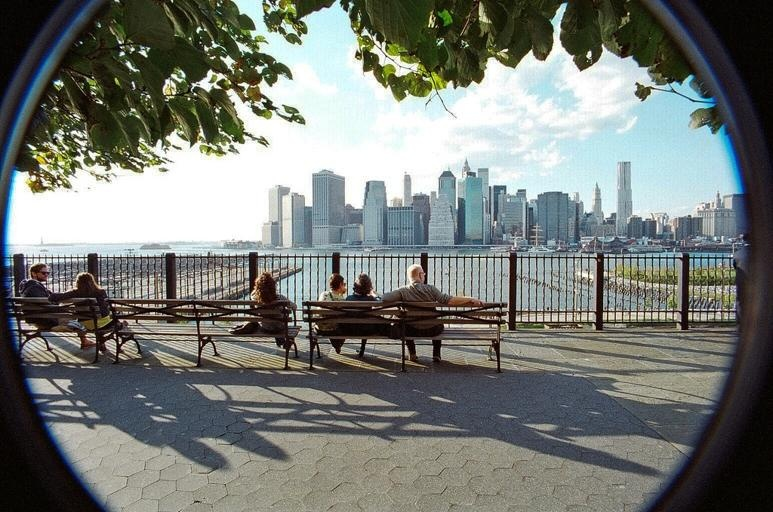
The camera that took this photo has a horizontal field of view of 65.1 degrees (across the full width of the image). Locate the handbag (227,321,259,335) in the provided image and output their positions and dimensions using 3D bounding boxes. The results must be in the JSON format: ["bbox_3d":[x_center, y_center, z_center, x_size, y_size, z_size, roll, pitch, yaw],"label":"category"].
[{"bbox_3d":[-2.190,1.058,9.030,0.540,0.230,0.168,1,-2,-2],"label":"handbag"}]

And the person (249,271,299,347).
[{"bbox_3d":[-1.690,0.835,9.026,0.611,1.220,0.675,-2,10,-9],"label":"person"}]

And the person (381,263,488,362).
[{"bbox_3d":[0.479,0.861,9.080,2.130,1.572,0.784,-1,11,12],"label":"person"}]

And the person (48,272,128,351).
[{"bbox_3d":[-5.014,0.927,10.097,1.178,0.618,0.517,1,1,23],"label":"person"}]
